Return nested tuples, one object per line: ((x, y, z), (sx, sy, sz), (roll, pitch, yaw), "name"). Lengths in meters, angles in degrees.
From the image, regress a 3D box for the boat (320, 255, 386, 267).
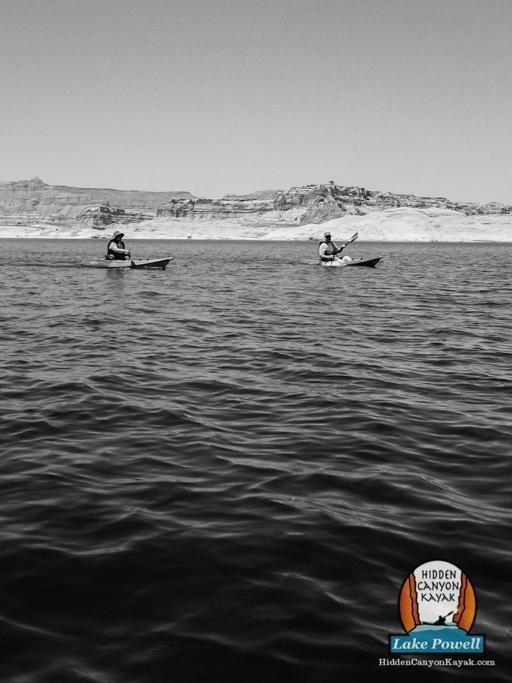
((6.822, -5.562, 42.087), (5.047, 0.837, 1.408), (-1, 8, -10), "boat")

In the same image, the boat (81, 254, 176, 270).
((-8.531, -5.160, 39.606), (5.803, 0.712, 2.430), (3, 8, 27), "boat")
